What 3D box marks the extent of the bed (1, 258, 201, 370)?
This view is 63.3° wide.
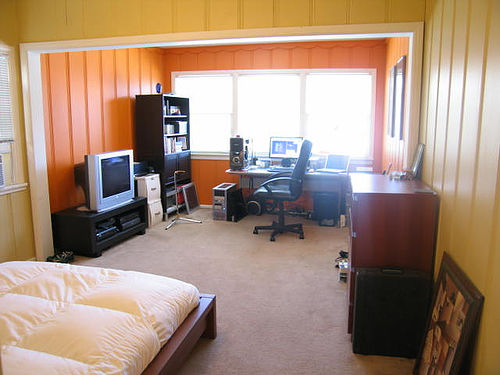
[{"bbox_3d":[-1.242,0.881,2.866,1.140,0.171,0.686,4,7,17],"label":"bed"}]

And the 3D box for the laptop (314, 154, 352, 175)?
[{"bbox_3d":[1.333,-0.382,6.552,0.505,0.261,0.489,3,14,11],"label":"laptop"}]

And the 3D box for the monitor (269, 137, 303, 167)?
[{"bbox_3d":[0.611,-0.623,6.729,0.548,0.502,0.132,1,1,14],"label":"monitor"}]

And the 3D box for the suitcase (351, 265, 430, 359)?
[{"bbox_3d":[1.168,1.015,3.470,0.605,0.861,0.312,-1,19,9],"label":"suitcase"}]

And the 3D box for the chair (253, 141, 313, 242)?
[{"bbox_3d":[0.452,-0.049,6.107,0.789,1.401,1.114,-1,14,-5],"label":"chair"}]

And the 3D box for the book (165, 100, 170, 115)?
[{"bbox_3d":[-1.387,-1.359,6.844,0.066,0.242,0.216,-1,14,-5],"label":"book"}]

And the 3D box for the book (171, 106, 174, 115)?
[{"bbox_3d":[-1.330,-1.325,6.993,0.041,0.123,0.086,-1,14,-7],"label":"book"}]

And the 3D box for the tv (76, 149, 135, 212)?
[{"bbox_3d":[-1.937,-0.088,5.377,0.387,0.707,0.741,6,10,14],"label":"tv"}]
